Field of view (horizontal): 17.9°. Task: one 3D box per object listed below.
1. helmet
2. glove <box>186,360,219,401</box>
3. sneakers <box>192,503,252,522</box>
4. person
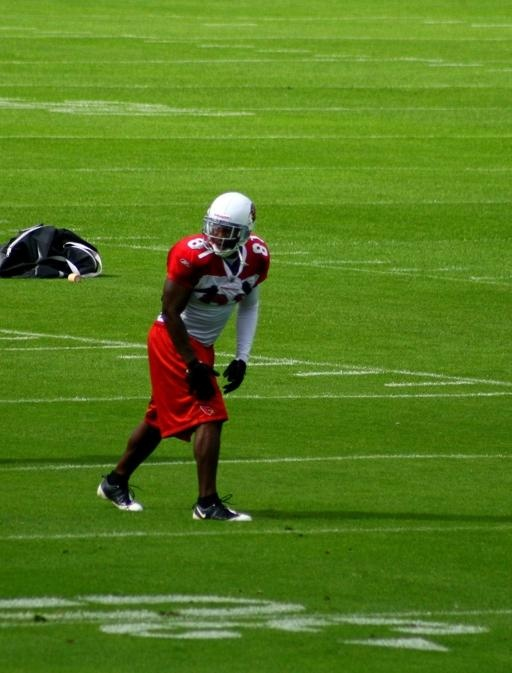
[{"bbox_3d":[-0.123,-0.505,7.283,0.221,0.251,0.302,13,16,7],"label":"helmet"},{"bbox_3d":[-0.246,0.193,7.124,0.180,0.070,0.128,43,-33,-2],"label":"glove"},{"bbox_3d":[-0.149,0.774,7.318,0.288,0.108,0.097,2,-4,-1],"label":"sneakers"},{"bbox_3d":[-0.296,0.091,7.343,0.679,1.481,0.567,1,11,0],"label":"person"}]
